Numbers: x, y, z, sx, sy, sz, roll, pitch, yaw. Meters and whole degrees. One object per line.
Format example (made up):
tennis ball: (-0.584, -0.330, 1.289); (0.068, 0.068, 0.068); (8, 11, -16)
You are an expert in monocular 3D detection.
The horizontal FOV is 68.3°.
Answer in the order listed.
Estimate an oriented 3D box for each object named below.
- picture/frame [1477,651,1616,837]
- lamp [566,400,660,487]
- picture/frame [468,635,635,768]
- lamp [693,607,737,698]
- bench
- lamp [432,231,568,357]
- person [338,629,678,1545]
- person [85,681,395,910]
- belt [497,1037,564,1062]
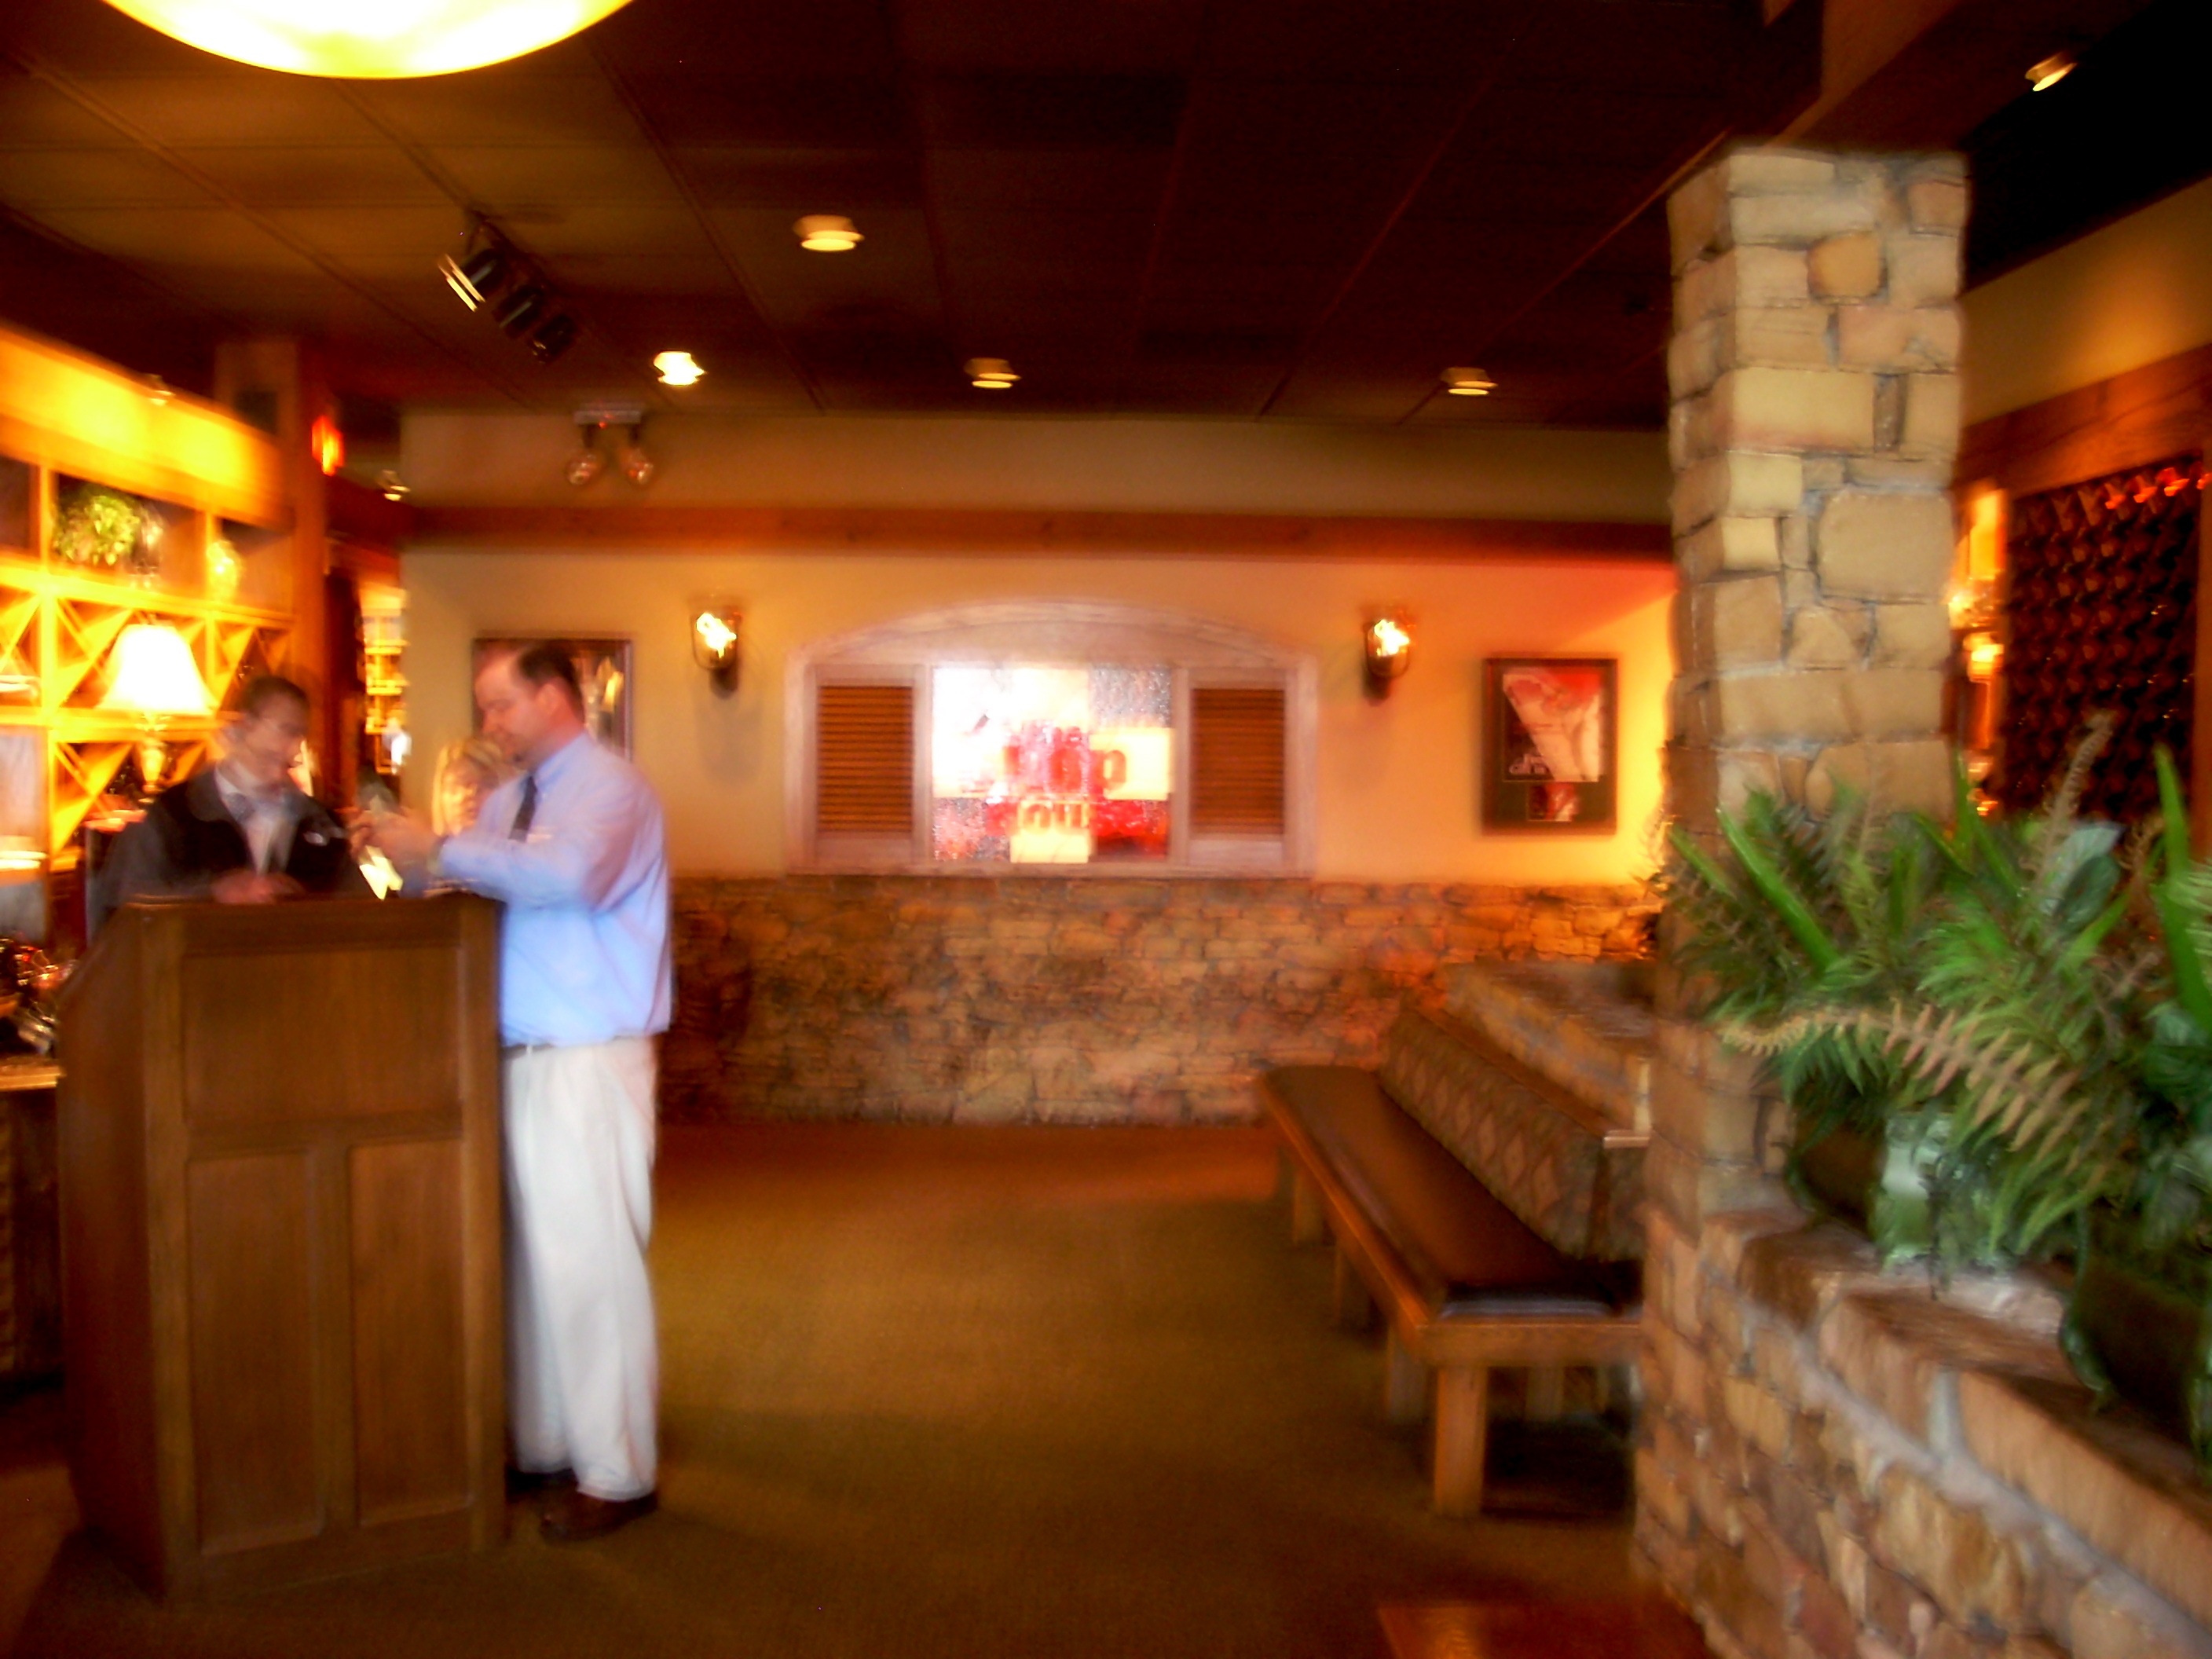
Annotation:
picture/frame: (2.178, -0.475, 8.112); (0.922, 1.161, 0.049); (0, -1, -4)
lamp: (-2.441, -1.850, 7.883); (0.428, 0.350, 0.201); (0, 6, 4)
picture/frame: (-2.699, -0.626, 7.823); (0.767, 0.757, 0.047); (-1, -34, -12)
lamp: (-1.911, -0.865, 7.944); (0.158, 0.429, 0.184); (2, 7, 16)
bench: (0.990, 1.347, 4.914); (0.561, 0.676, 1.671); (-1, 6, -5)
lamp: (-2.162, -1.926, 5.775); (0.288, 0.178, 0.374); (41, -8, 11)
person: (-1.477, 0.645, 4.277); (0.646, 2.214, 0.643); (-2, 7, -17)
person: (-2.678, -0.065, 5.101); (0.473, 0.777, 0.831); (31, 31, 25)
belt: (-1.501, 0.561, 4.207); (0.145, 0.048, 0.011); (0, 7, 4)
